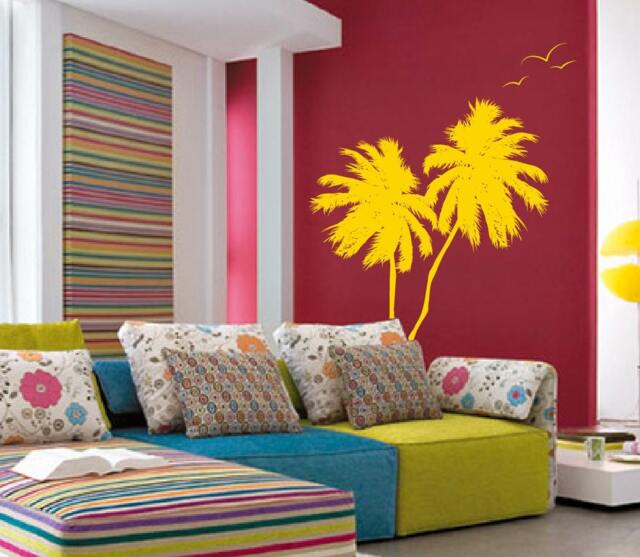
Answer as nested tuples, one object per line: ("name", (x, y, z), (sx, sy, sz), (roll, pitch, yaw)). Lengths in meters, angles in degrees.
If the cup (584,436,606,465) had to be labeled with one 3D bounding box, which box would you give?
("cup", (1.442, 0.904, 3.215), (0.151, 0.135, 0.092), (3, -4, -26))
